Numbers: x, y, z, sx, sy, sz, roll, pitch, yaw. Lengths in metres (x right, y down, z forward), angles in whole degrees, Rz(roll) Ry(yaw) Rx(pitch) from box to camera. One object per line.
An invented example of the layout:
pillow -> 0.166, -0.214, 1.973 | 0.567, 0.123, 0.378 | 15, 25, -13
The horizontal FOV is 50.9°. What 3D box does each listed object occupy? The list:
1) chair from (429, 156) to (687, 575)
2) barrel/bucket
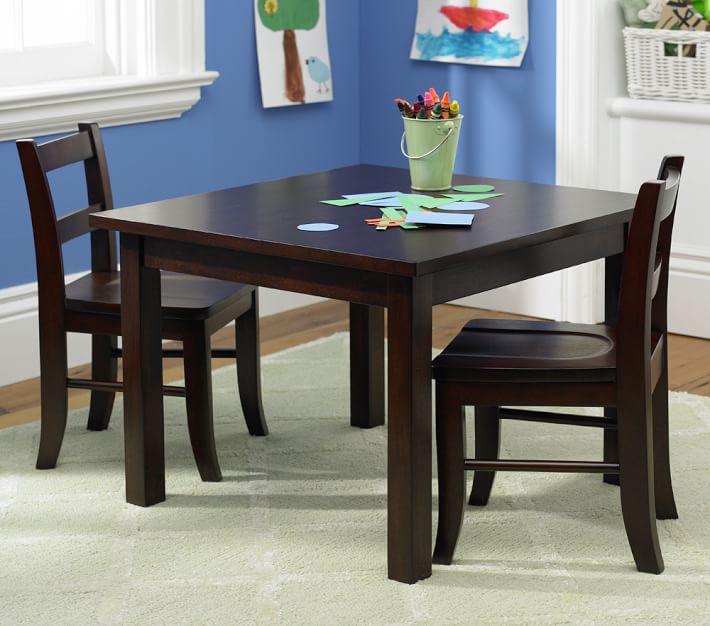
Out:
chair -> 0.458, 0.082, 1.626 | 0.562, 0.824, 0.493 | 1, 11, 7
barrel/bucket -> 0.198, -0.418, 1.932 | 0.155, 0.181, 0.185 | -12, 20, -32
